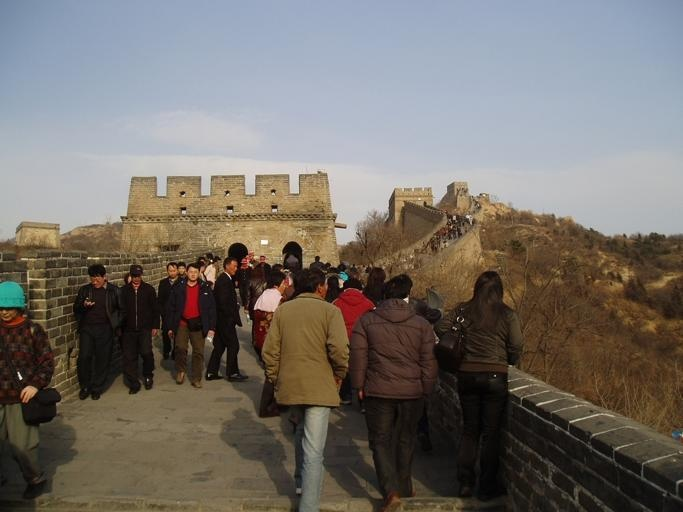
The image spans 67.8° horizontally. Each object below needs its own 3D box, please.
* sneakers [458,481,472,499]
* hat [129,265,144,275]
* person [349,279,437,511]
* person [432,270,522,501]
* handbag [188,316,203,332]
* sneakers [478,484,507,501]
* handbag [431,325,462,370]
[{"bbox_3d":[1.233,2.331,5.089,0.127,0.148,0.128,7,-8,-42],"label":"sneakers"},{"bbox_3d":[-3.398,0.247,8.406,0.140,0.205,0.201,1,-1,-10],"label":"hat"},{"bbox_3d":[0.494,1.429,5.005,0.855,1.981,0.496,0,0,10],"label":"person"},{"bbox_3d":[1.359,1.287,5.117,0.850,2.223,0.299,0,0,-3],"label":"person"},{"bbox_3d":[-2.441,1.136,8.446,0.246,0.233,0.104,0,0,-15],"label":"handbag"},{"bbox_3d":[1.495,2.329,5.073,0.281,0.162,0.154,0,0,-3],"label":"sneakers"},{"bbox_3d":[1.056,0.950,5.034,0.254,0.438,0.187,0,0,12],"label":"handbag"}]
